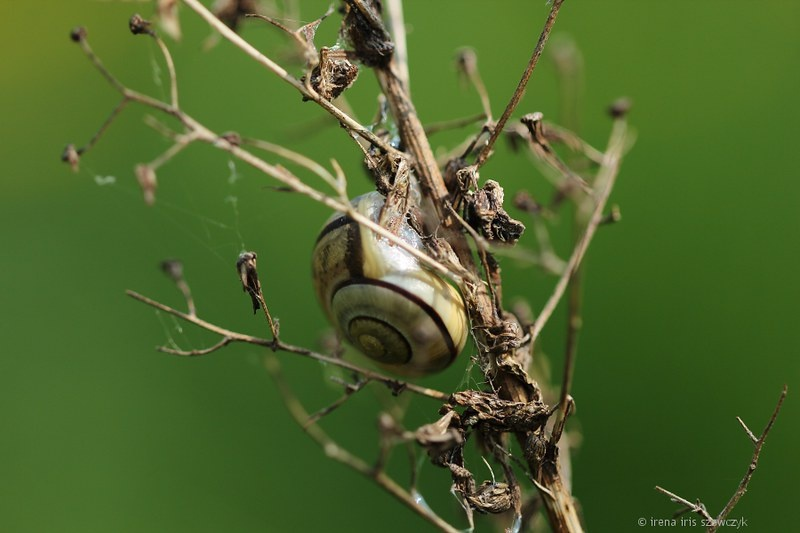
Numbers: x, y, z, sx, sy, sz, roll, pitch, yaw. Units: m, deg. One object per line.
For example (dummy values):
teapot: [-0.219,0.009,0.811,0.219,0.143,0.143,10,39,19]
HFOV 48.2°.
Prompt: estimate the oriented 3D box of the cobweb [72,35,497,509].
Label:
cobweb: [-0.184,-0.030,1.817,0.487,0.897,0.934,2,-22,-37]

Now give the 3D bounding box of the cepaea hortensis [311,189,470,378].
cepaea hortensis: [0.016,0.009,1.755,0.306,0.321,0.303,14,25,39]
